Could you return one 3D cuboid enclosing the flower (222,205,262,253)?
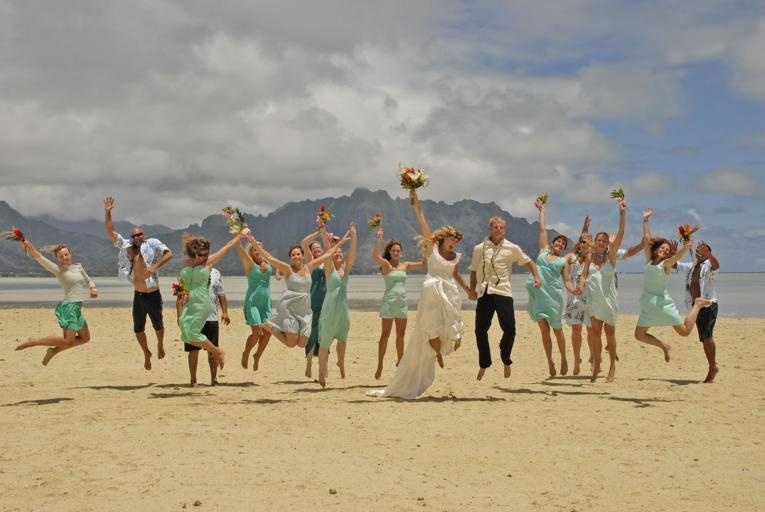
[{"bbox_3d":[-2.700,-0.638,15.880,0.913,0.453,0.325,41,31,17],"label":"flower"}]
